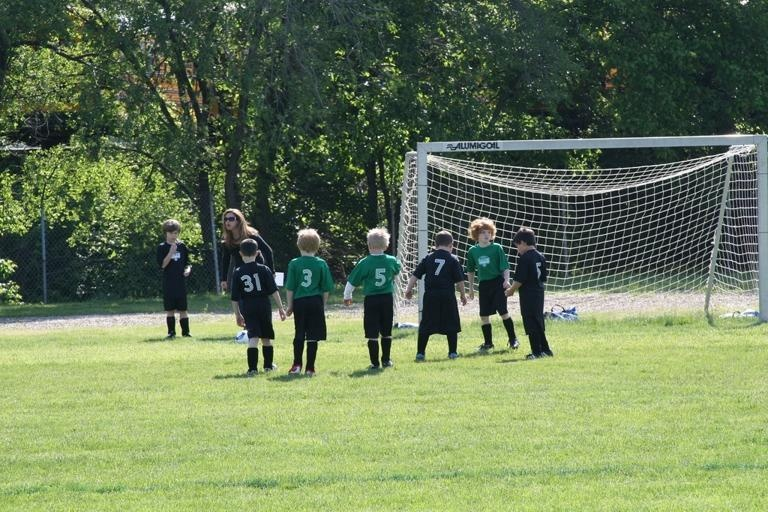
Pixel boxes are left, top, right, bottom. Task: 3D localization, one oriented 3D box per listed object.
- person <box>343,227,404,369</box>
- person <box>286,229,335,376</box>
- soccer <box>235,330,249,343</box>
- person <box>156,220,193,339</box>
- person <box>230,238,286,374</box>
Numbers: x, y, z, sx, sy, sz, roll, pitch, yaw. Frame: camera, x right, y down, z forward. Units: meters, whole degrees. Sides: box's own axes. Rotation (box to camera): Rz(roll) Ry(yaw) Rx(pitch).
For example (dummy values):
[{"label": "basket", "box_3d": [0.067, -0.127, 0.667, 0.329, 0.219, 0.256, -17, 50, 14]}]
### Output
[{"label": "person", "box_3d": [-0.246, 0.897, 27.984, 1.098, 2.260, 0.680, -2, -1, -16]}, {"label": "person", "box_3d": [-1.546, 0.951, 27.662, 0.897, 2.234, 0.596, -2, -1, -3]}, {"label": "soccer", "box_3d": [-3.152, 1.804, 30.016, 0.325, 0.177, 0.312, -24, 30, -29]}, {"label": "person", "box_3d": [-4.830, 0.546, 31.060, 0.693, 1.921, 0.894, -2, -1, -9]}, {"label": "person", "box_3d": [-2.593, 1.047, 27.621, 1.014, 2.025, 0.496, -2, -1, -6]}]
